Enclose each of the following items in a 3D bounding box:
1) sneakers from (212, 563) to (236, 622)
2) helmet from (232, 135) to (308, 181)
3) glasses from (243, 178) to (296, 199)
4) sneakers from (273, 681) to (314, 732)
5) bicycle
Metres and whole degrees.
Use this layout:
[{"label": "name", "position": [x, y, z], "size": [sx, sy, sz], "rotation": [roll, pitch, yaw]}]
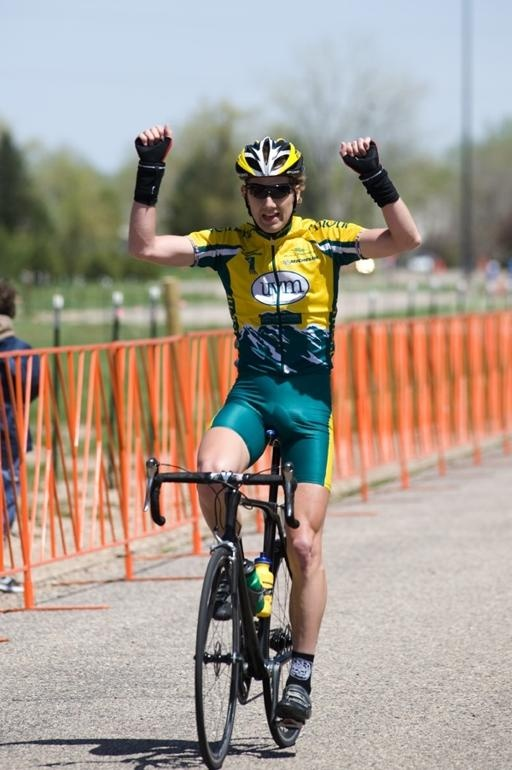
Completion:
[{"label": "sneakers", "position": [-0.075, 0.560, 2.915], "size": [0.079, 0.127, 0.053], "rotation": [-3, -23, 16]}, {"label": "helmet", "position": [0.041, -0.716, 3.430], "size": [0.209, 0.154, 0.242], "rotation": [-3, 3, 3]}, {"label": "glasses", "position": [0.042, -0.604, 3.395], "size": [0.154, 0.065, 0.079], "rotation": [-3, 3, -2]}, {"label": "sneakers", "position": [0.101, 0.904, 3.098], "size": [0.068, 0.073, 0.157], "rotation": [3, -25, 6]}, {"label": "bicycle", "position": [-0.084, 0.640, 3.166], "size": [0.428, 0.946, 0.801], "rotation": [-3, 4, 1]}]
